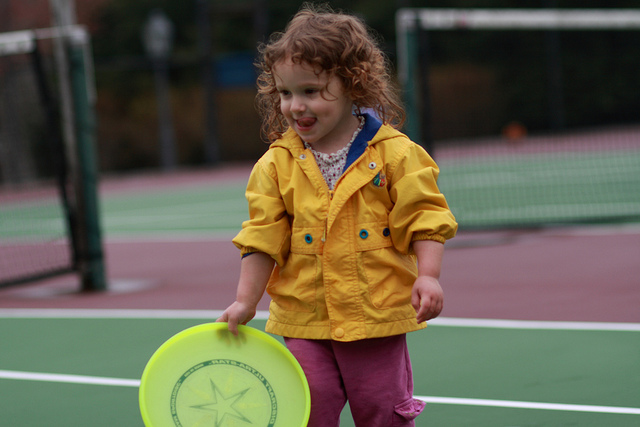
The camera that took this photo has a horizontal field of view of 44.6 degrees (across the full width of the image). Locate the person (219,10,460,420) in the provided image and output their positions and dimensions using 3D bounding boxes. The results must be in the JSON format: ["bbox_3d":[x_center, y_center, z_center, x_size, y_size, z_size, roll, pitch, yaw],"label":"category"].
[{"bbox_3d":[0.131,0.008,4.507,1.214,2.363,0.444,-2,7,6],"label":"person"}]
